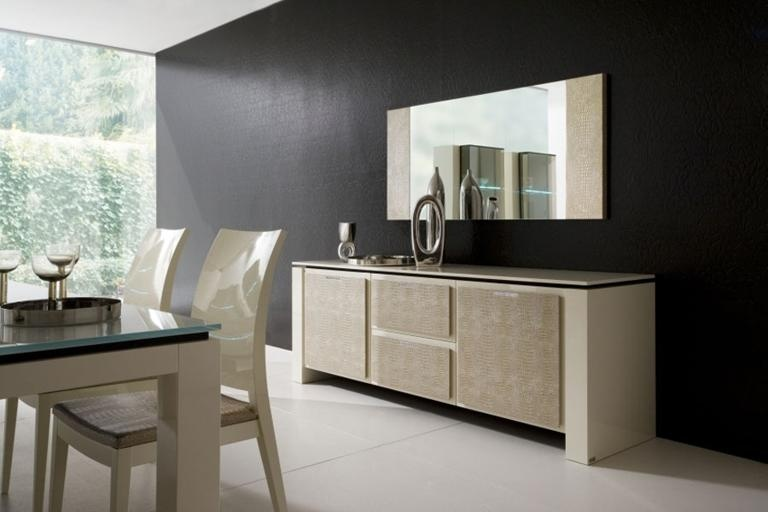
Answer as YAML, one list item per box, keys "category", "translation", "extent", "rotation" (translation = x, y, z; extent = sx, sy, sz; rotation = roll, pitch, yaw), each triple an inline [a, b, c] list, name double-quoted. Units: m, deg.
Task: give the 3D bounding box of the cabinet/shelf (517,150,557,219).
- category: "cabinet/shelf"
  translation: [1.005, -0.428, 3.741]
  extent: [0.200, 0.476, 0.100]
  rotation: [0, -6, 5]

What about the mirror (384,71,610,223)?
- category: "mirror"
  translation: [0.825, -0.711, 3.906]
  extent: [1.380, 0.912, 0.344]
  rotation: [4, 8, 27]
